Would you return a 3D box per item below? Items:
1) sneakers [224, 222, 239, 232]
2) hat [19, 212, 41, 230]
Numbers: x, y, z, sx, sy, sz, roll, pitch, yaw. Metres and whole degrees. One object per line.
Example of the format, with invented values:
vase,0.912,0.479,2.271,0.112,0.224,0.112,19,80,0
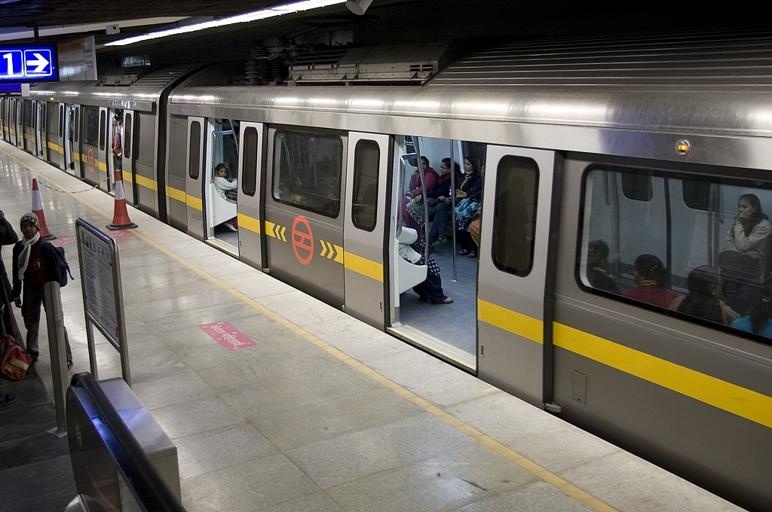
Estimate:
sneakers,-3.831,-0.759,12.213,0.213,0.243,0.619,-13,16,-43
hat,-4.185,-0.434,5.767,0.199,0.150,0.273,3,-14,-29
